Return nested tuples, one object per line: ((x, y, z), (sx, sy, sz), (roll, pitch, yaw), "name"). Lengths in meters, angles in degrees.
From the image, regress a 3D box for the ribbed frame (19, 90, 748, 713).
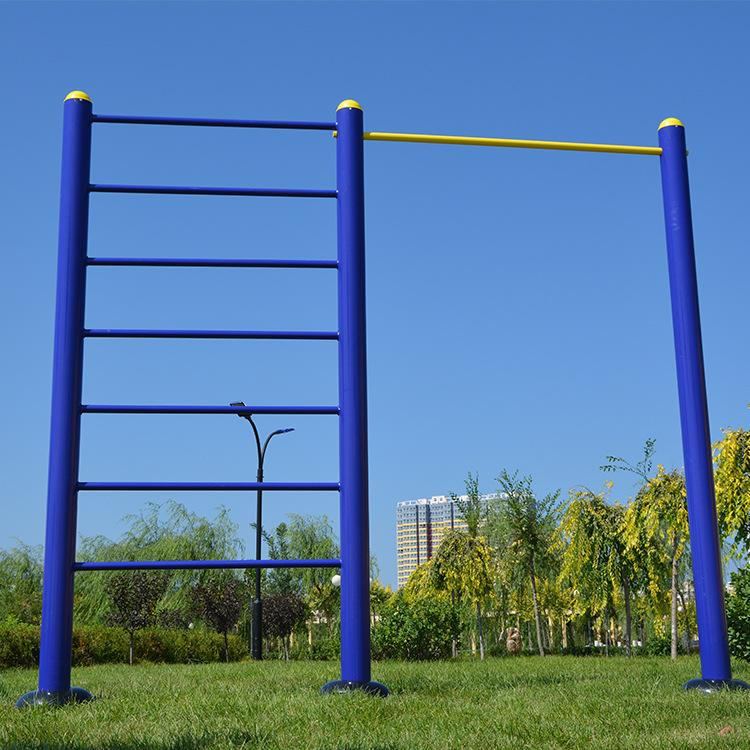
((0.131, 2.041, 12.691), (6.107, 7.548, 0.981), (4, -17, -16), "ribbed frame")
